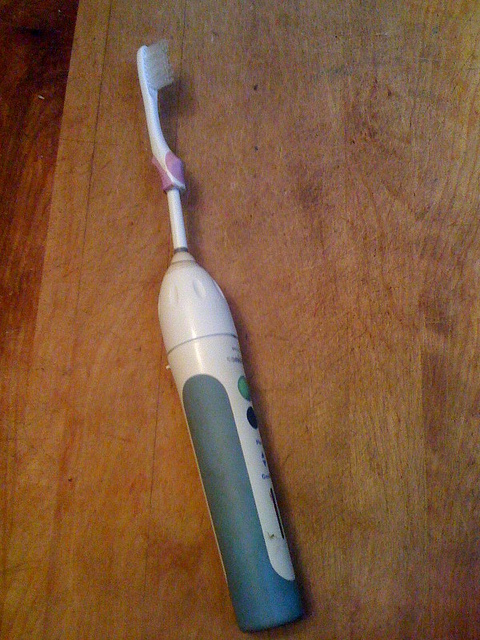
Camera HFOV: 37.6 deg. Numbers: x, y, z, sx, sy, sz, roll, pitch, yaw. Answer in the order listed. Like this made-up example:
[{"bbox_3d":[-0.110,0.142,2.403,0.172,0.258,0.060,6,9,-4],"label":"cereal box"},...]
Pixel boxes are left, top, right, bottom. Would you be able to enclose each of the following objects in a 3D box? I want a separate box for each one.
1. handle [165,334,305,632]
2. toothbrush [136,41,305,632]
[{"bbox_3d":[-0.011,0.154,0.690,0.116,0.278,0.090,-7,-5,-1],"label":"handle"},{"bbox_3d":[-0.043,-0.016,0.742,0.072,0.691,0.081,-20,-20,17],"label":"toothbrush"}]
